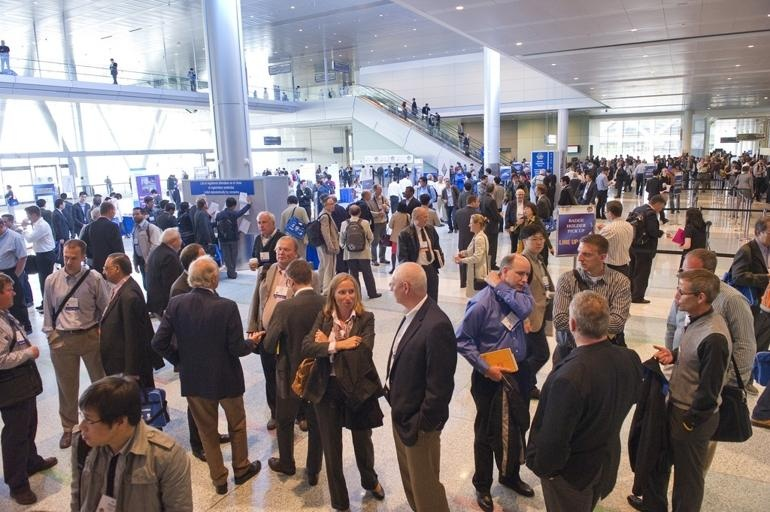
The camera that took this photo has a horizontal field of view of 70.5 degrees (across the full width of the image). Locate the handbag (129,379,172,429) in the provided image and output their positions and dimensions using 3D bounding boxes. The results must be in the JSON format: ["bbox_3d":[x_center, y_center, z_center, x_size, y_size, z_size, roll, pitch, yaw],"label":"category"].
[{"bbox_3d":[-2.446,1.682,5.773,0.240,0.574,0.532,-6,11,-26],"label":"handbag"}]

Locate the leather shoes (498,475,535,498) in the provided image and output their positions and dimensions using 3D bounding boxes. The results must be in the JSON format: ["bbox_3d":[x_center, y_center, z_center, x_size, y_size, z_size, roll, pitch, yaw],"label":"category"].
[{"bbox_3d":[1.288,2.234,5.370,0.370,0.149,0.138,9,12,25],"label":"leather shoes"}]

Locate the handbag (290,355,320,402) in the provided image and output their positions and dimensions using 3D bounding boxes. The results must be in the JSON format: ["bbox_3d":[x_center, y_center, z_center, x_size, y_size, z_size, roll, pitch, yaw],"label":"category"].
[{"bbox_3d":[-0.741,1.134,5.016,0.288,0.367,0.135,-16,-21,39],"label":"handbag"}]

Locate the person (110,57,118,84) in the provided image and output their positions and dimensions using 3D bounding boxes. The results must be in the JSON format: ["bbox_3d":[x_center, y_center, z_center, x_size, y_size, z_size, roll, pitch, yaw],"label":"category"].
[{"bbox_3d":[-10.963,-7.425,21.953,0.336,1.004,0.643,-5,10,-23],"label":"person"}]

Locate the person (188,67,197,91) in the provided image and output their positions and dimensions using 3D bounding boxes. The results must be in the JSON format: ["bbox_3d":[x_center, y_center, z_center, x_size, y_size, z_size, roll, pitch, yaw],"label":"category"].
[{"bbox_3d":[-9.067,-8.272,25.549,0.315,1.150,0.891,-4,10,-17],"label":"person"}]

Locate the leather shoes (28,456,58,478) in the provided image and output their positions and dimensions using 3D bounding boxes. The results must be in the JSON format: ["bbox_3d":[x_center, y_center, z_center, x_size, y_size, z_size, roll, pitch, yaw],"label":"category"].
[{"bbox_3d":[-3.650,2.214,5.807,0.101,0.135,0.321,7,15,21],"label":"leather shoes"}]

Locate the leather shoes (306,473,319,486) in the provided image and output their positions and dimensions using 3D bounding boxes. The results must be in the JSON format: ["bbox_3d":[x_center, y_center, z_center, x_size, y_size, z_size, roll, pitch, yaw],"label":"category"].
[{"bbox_3d":[-0.731,2.250,5.512,0.117,0.105,0.107,-3,10,-9],"label":"leather shoes"}]

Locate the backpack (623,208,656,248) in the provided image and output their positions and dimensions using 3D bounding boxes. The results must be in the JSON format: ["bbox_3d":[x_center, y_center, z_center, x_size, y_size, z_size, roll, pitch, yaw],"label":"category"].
[{"bbox_3d":[4.218,-0.443,8.958,0.426,0.754,0.557,-6,11,-35],"label":"backpack"}]

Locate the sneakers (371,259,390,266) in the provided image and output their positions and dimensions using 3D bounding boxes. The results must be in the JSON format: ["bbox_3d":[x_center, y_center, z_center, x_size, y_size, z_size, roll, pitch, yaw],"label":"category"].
[{"bbox_3d":[-0.102,0.147,12.713,0.443,0.177,0.152,-2,8,1],"label":"sneakers"}]

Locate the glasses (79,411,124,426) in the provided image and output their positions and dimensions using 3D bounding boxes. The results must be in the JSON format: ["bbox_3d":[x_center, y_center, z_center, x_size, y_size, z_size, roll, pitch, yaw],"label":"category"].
[{"bbox_3d":[-1.967,1.123,3.772,0.257,0.117,0.031,-2,10,-5],"label":"glasses"}]

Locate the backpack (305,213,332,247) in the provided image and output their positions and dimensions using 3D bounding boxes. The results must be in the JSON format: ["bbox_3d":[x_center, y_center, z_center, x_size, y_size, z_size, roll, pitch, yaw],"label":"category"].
[{"bbox_3d":[-1.237,-0.524,10.068,0.478,0.860,0.633,-2,6,-18],"label":"backpack"}]

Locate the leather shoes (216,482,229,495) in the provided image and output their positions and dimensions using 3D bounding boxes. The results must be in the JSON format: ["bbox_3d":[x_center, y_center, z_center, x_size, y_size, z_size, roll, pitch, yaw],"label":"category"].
[{"bbox_3d":[-1.622,2.313,5.421,0.125,0.084,0.089,4,-5,-33],"label":"leather shoes"}]

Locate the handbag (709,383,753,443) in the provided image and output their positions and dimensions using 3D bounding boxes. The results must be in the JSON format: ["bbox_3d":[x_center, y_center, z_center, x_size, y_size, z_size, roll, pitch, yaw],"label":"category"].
[{"bbox_3d":[3.023,1.371,4.732,0.302,0.483,0.206,3,10,22],"label":"handbag"}]

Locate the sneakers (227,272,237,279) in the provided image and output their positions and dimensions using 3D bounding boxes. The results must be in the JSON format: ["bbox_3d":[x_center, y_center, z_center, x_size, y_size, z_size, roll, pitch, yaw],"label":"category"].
[{"bbox_3d":[-3.306,0.418,11.791,0.088,0.154,0.229,4,16,11],"label":"sneakers"}]

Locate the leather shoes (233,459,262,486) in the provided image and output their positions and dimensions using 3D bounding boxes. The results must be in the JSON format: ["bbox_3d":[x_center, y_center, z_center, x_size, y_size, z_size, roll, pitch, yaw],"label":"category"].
[{"bbox_3d":[-1.418,2.206,5.609,0.118,0.126,0.323,9,16,22],"label":"leather shoes"}]

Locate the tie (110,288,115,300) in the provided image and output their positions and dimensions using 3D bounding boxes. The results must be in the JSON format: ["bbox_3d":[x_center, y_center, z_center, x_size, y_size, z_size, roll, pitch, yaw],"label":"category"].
[{"bbox_3d":[-3.045,0.423,6.062,0.032,0.127,0.132,10,-18,-31],"label":"tie"}]

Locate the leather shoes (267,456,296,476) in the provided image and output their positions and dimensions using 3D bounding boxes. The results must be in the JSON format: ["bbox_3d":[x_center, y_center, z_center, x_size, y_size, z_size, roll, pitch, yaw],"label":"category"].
[{"bbox_3d":[-1.088,2.173,5.686,0.307,0.132,0.135,18,16,35],"label":"leather shoes"}]

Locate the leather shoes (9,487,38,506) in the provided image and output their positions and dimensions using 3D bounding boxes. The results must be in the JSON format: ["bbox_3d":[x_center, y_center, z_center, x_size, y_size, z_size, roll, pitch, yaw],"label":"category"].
[{"bbox_3d":[-3.573,2.380,5.388,0.272,0.109,0.136,-2,0,36],"label":"leather shoes"}]

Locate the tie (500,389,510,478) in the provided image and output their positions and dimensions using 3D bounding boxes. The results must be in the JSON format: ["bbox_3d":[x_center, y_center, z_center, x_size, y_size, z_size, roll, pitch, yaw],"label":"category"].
[{"bbox_3d":[1.081,1.584,4.918,0.068,0.828,0.085,-5,10,-21],"label":"tie"}]
